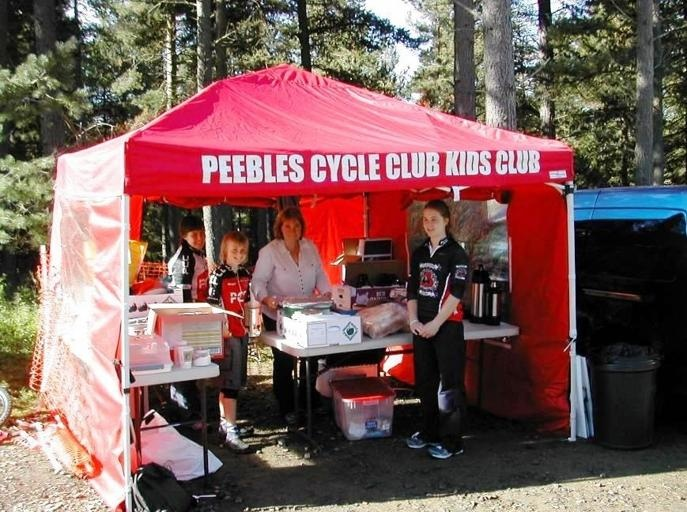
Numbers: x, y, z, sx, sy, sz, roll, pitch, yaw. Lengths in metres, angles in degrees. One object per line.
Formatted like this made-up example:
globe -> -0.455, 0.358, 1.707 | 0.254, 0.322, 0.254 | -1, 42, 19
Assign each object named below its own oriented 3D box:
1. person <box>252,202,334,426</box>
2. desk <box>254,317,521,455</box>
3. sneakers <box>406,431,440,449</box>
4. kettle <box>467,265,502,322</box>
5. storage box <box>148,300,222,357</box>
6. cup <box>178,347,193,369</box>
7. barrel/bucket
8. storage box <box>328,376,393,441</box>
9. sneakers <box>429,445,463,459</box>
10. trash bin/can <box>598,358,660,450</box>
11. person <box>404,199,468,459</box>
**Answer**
person -> -0.580, 0.716, 7.642 | 1.007, 2.365, 0.968 | -6, 6, -42
desk -> 0.633, 1.414, 7.770 | 2.589, 1.262, 1.421 | -3, 2, -7
sneakers -> 0.804, 1.901, 7.027 | 0.314, 0.145, 0.132 | 7, -4, -6
kettle -> 1.560, 0.432, 7.557 | 0.314, 0.632, 0.312 | 0, 10, -5
storage box -> -1.438, 0.631, 6.288 | 0.496, 0.587, 0.448 | -1, 0, -37
cup -> -1.407, 0.901, 6.073 | 0.119, 0.184, 0.065 | -4, 12, -16
barrel/bucket -> 2.853, 1.412, 7.124 | 0.694, 1.017, 0.783 | 3, 15, 17
storage box -> 0.207, 1.794, 7.694 | 0.616, 0.440, 0.872 | 0, -9, -7
sneakers -> 1.013, 1.963, 6.879 | 0.321, 0.140, 0.118 | 9, -2, -23
trash bin/can -> 2.811, 1.453, 7.109 | 0.743, 0.829, 0.860 | -1, 1, -21
person -> 0.958, 0.757, 6.989 | 0.696, 2.399, 0.752 | 1, 1, 40
